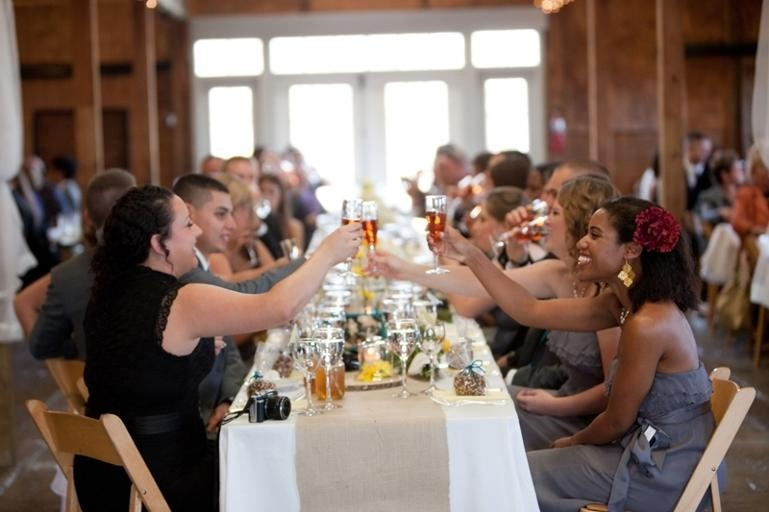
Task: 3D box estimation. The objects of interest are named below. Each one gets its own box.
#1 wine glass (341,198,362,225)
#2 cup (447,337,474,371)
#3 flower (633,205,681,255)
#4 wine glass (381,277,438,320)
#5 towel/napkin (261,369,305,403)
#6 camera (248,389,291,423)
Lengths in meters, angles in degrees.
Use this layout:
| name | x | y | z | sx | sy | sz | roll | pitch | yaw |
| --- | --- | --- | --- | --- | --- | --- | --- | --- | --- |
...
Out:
| name | x | y | z | sx | sy | sz | roll | pitch | yaw |
| --- | --- | --- | --- | --- | --- | --- | --- | --- | --- |
| wine glass | -0.136 | -0.184 | 2.743 | 0.101 | 0.159 | 0.097 | 1 | 6 | 4 |
| cup | 0.327 | 0.429 | 2.874 | 0.100 | 0.114 | 0.094 | -16 | 27 | 8 |
| flower | 1.120 | -0.109 | 2.702 | 0.220 | 0.194 | 0.078 | -3 | 4 | -11 |
| wine glass | 0.149 | 0.239 | 3.616 | 0.242 | 0.251 | 0.244 | 0 | -4 | -3 |
| towel/napkin | -0.436 | 0.589 | 2.947 | 0.129 | 0.079 | 0.127 | 0 | -5 | 4 |
| camera | -0.455 | 0.586 | 2.584 | 0.142 | 0.111 | 0.181 | 2 | -5 | 14 |
